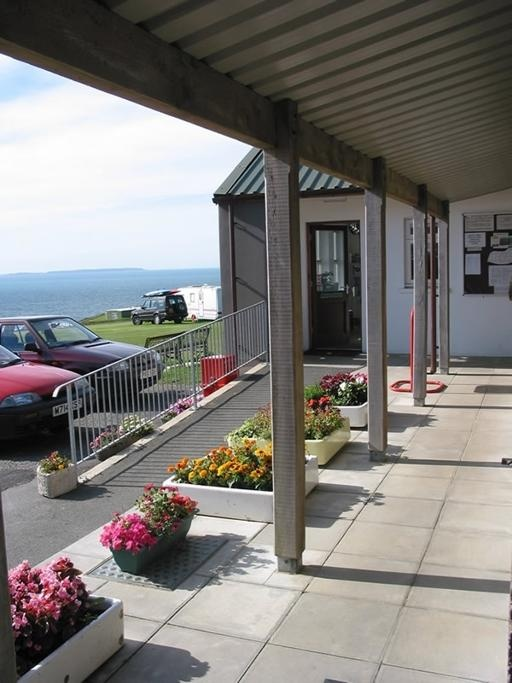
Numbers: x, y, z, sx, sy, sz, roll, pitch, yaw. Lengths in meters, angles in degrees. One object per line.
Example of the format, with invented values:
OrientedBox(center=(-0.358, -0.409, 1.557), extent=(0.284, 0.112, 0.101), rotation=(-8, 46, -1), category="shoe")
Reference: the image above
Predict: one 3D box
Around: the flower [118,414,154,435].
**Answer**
OrientedBox(center=(-1.643, 1.079, 7.037), extent=(0.287, 0.161, 0.326), rotation=(3, 1, 40), category="flower")

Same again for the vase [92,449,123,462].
OrientedBox(center=(-1.774, 1.364, 6.456), extent=(0.229, 0.099, 0.309), rotation=(-1, -1, 0), category="vase")

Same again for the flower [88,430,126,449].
OrientedBox(center=(-1.881, 1.194, 6.596), extent=(0.315, 0.182, 0.444), rotation=(-3, 2, 23), category="flower")

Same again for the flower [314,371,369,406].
OrientedBox(center=(1.234, 0.645, 7.396), extent=(0.485, 0.257, 0.484), rotation=(2, 10, 23), category="flower")

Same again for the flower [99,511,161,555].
OrientedBox(center=(-0.810, 1.219, 3.470), extent=(0.321, 0.185, 0.318), rotation=(2, 2, 1), category="flower")

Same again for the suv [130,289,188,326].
OrientedBox(center=(-5.711, -1.976, 32.257), extent=(3.191, 1.609, 1.880), rotation=(8, 11, 40), category="suv")

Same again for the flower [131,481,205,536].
OrientedBox(center=(-0.637, 1.146, 3.778), extent=(0.385, 0.184, 0.410), rotation=(-1, -5, 28), category="flower")
